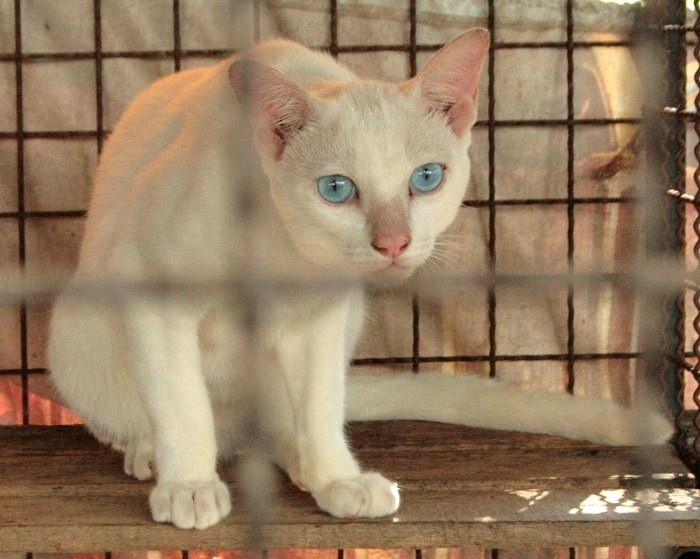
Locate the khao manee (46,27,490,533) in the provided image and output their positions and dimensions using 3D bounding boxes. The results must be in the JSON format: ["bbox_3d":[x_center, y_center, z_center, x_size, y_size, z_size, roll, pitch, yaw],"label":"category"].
[{"bbox_3d":[-0.215,-0.025,3.728,0.976,1.209,1.396,1,4,-24],"label":"khao manee"}]
